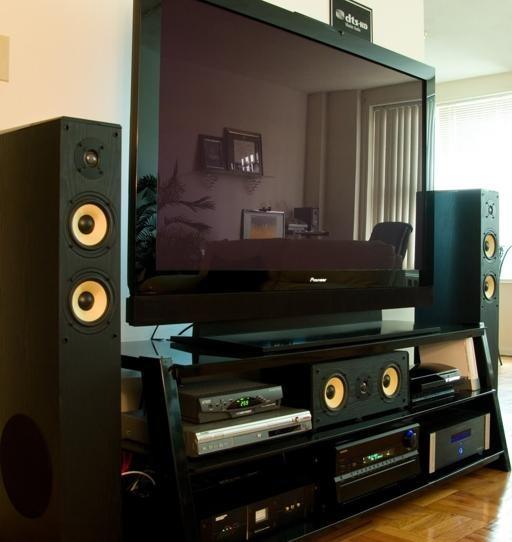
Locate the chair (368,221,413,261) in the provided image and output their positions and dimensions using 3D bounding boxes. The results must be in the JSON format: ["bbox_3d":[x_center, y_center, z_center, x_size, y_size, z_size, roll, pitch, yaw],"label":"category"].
[{"bbox_3d":[0.568,-0.128,2.032,0.167,0.220,0.160,2,1,-41],"label":"chair"}]

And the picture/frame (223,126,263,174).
[{"bbox_3d":[-0.037,-0.366,1.457,0.022,0.139,0.159,4,8,44],"label":"picture/frame"}]

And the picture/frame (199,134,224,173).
[{"bbox_3d":[-0.135,-0.340,1.362,0.012,0.139,0.103,-3,-4,38],"label":"picture/frame"}]
